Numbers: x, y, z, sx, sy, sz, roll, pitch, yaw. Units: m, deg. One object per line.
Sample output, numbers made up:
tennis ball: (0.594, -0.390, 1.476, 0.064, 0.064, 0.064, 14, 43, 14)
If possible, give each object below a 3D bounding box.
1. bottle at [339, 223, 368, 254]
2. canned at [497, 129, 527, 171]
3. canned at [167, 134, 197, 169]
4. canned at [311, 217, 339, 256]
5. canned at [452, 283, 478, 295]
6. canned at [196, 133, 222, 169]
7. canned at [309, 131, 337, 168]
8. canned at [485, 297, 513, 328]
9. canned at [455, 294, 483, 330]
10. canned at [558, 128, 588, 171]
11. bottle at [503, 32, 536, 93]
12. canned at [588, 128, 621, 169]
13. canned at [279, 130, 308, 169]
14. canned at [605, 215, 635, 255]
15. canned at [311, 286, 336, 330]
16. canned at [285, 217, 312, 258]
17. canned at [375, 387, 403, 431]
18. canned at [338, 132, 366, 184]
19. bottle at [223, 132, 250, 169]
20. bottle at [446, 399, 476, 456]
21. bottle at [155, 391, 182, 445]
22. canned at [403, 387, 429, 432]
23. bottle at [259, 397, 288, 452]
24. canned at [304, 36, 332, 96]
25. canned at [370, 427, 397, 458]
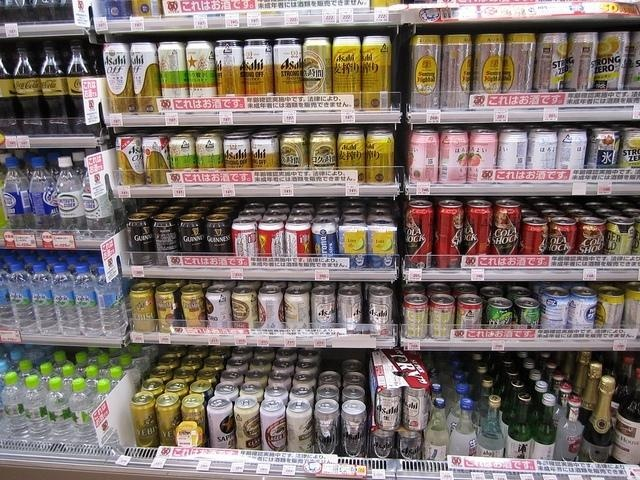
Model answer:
bottle: (0.174, -0.008, 2.876, 0.182, 0.158, 0.171, -2, 18, -5)
canned: (1.072, -0.507, 2.754, 0.150, 0.211, 0.101, -1, -17, 9)
canned: (-0.807, -0.516, 2.905, 0.162, 0.186, 0.124, 3, -17, -5)
canned: (0.027, -0.017, 2.891, 0.154, 0.222, 0.105, 1, -17, 1)
canned: (0.891, 0.297, 3.015, 0.094, 0.092, 0.092, -26, 35, -34)
canned: (-0.648, -0.522, 2.886, 0.156, 0.193, 0.119, 3, -17, -5)
canned: (0.018, -0.527, 2.824, 0.161, 0.214, 0.113, 1, -17, 1)
canned: (1.053, 0.431, 2.893, 0.117, 0.121, 0.116, 25, 46, 38)
canned: (0.879, 0.428, 2.906, 0.137, 0.215, 0.124, -3, 27, 5)
canned: (1.398, -0.512, 2.742, 0.154, 0.227, 0.106, -3, -18, 13)
bottle: (1.081, -0.965, 2.688, 0.160, 0.287, 0.158, 1, -17, 0)
canned: (1.584, -0.517, 2.756, 0.156, 0.213, 0.105, -2, -18, 13)
canned: (-0.151, -0.528, 2.838, 0.164, 0.218, 0.114, 2, -17, -2)
canned: (1.722, -0.028, 2.840, 0.140, 0.213, 0.111, -2, -18, 12)
canned: (0.020, 0.410, 2.970, 0.162, 0.253, 0.163, 23, 36, 37)
canned: (-0.125, 0.003, 2.904, 0.151, 0.185, 0.107, 1, -17, 2)
canned: (0.380, 0.963, 2.799, 0.138, 0.235, 0.141, 1, -17, 2)
canned: (0.179, -0.490, 2.811, 0.166, 0.271, 0.139, 2, -17, -2)
bottle: (-0.481, -0.523, 2.874, 0.173, 0.216, 0.118, 3, -17, -5)
bottle: (0.815, 1.085, 2.847, 0.171, 0.322, 0.291, -4, -17, 16)
bottle: (-0.893, 1.056, 2.887, 0.148, 0.303, 0.142, 1, -17, 0)
canned: (0.545, 0.973, 2.817, 0.145, 0.243, 0.163, 0, -17, 6)
bottle: (-0.270, 1.083, 2.873, 0.164, 0.303, 0.181, 2, -17, -2)
canned: (-0.014, -0.960, 2.725, 0.162, 0.279, 0.161, 1, -17, 1)
canned: (0.359, 1.192, 2.881, 0.132, 0.174, 0.146, 2, -17, 0)
